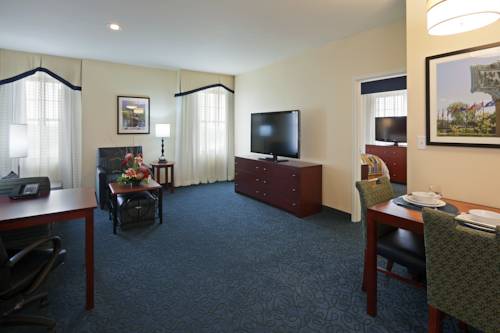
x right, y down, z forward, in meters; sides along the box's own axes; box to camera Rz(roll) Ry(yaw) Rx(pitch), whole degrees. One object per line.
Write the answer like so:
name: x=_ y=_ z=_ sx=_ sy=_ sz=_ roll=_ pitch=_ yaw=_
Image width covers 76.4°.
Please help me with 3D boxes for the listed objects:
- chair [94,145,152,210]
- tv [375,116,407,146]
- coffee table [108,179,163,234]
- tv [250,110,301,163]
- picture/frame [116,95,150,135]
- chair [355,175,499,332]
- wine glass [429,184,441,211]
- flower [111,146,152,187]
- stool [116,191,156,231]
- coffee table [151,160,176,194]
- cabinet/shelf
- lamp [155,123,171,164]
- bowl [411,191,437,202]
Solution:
chair: x=-2.580 y=0.185 z=6.363 sx=0.869 sy=1.007 sz=0.697 roll=-3 pitch=15 yaw=-30
tv: x=3.690 y=-0.916 z=8.354 sx=1.010 sy=0.718 sz=0.086 roll=1 pitch=-5 yaw=-12
coffee table: x=-1.890 y=0.576 z=5.211 sx=0.777 sy=0.618 sz=0.812 roll=-1 pitch=3 yaw=-35
tv: x=0.418 y=-0.557 z=6.110 sx=1.241 sy=0.892 sz=0.221 roll=0 pitch=3 yaw=-33
picture/frame: x=-2.552 y=-1.115 z=6.896 sx=0.801 sy=1.041 sz=0.043 roll=-6 pitch=10 yaw=-34
chair: x=2.195 y=0.780 z=3.585 sx=1.188 sy=1.902 sz=1.428 roll=-3 pitch=3 yaw=-35
wine glass: x=1.890 y=0.311 z=3.237 sx=0.131 sy=0.237 sz=0.080 roll=-4 pitch=13 yaw=-14
flower: x=-1.890 y=0.046 z=5.199 sx=0.498 sy=0.491 sz=0.592 roll=16 pitch=25 yaw=19
stool: x=-1.793 y=0.668 z=5.046 sx=0.539 sy=0.481 sz=0.543 roll=-1 pitch=3 yaw=-28
coffee table: x=-1.861 y=0.189 z=6.931 sx=0.429 sy=0.530 sz=0.399 roll=-10 pitch=18 yaw=-42
cabinet/shelf: x=0.464 y=0.301 z=6.285 sx=0.626 sy=0.886 sz=1.993 roll=-9 pitch=12 yaw=-35
lamp: x=-1.895 y=-0.531 z=7.056 sx=0.324 sy=0.808 sz=0.647 roll=-4 pitch=14 yaw=-16
bowl: x=1.845 y=0.328 z=3.363 sx=0.123 sy=0.046 sz=0.153 roll=-4 pitch=5 yaw=-28
